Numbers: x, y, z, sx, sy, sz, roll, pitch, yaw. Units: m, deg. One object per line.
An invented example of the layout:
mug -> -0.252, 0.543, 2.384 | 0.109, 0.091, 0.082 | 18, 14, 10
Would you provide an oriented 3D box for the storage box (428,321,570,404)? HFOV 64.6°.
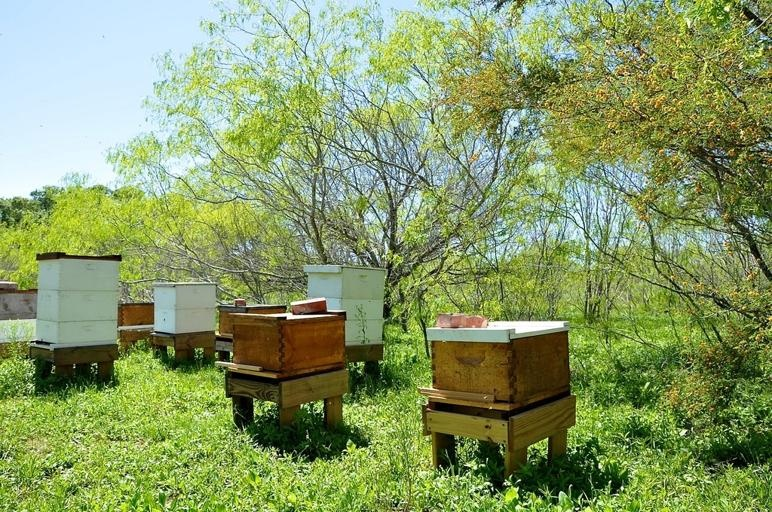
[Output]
storage box -> 1.056, 0.963, 6.198 | 0.916, 0.594, 0.928 | -6, -6, 41
